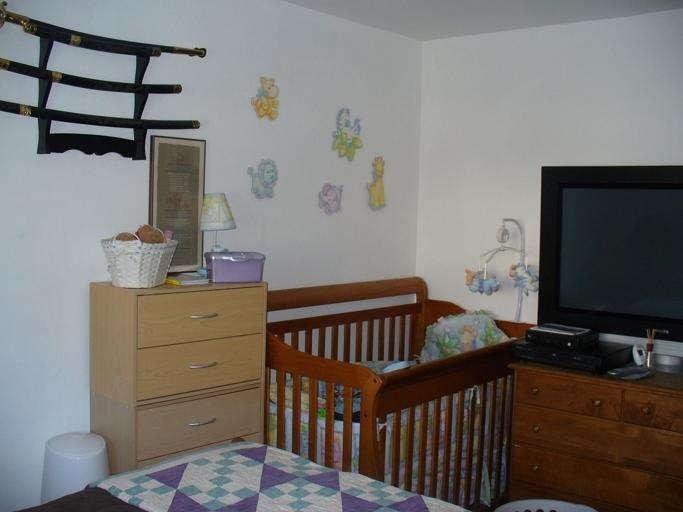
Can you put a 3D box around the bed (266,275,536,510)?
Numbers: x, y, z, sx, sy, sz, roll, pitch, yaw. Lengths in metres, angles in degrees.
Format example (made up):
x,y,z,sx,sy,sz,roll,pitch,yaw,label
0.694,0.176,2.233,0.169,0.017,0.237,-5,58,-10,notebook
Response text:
x,y,z,sx,sy,sz,roll,pitch,yaw,label
0.235,0.406,3.046,1.650,1.284,1.087,-4,5,-44,bed

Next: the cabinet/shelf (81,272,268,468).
x,y,z,sx,sy,sz,roll,pitch,yaw,label
-0.742,0.483,2.437,0.733,1.175,0.422,-2,3,-38,cabinet/shelf

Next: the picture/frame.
x,y,z,sx,sy,sz,roll,pitch,yaw,label
-0.801,-0.259,2.844,0.283,0.676,0.021,1,0,11,picture/frame

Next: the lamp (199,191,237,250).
x,y,z,sx,sy,sz,roll,pitch,yaw,label
-0.599,-0.172,2.768,0.147,0.277,0.387,-2,6,-14,lamp

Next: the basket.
x,y,z,sx,sy,sz,roll,pitch,yaw,label
-0.856,-0.001,2.476,0.220,0.246,0.300,4,3,16,basket
